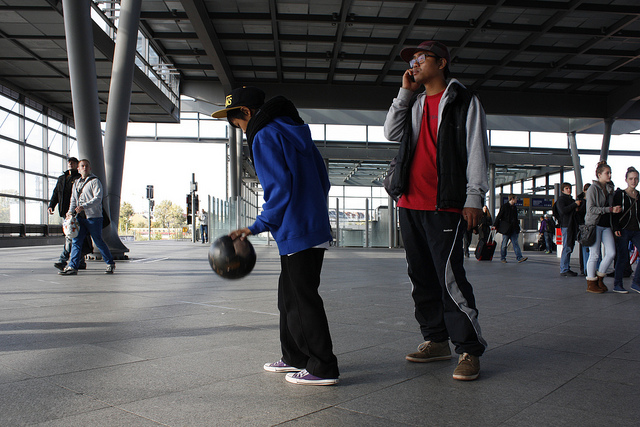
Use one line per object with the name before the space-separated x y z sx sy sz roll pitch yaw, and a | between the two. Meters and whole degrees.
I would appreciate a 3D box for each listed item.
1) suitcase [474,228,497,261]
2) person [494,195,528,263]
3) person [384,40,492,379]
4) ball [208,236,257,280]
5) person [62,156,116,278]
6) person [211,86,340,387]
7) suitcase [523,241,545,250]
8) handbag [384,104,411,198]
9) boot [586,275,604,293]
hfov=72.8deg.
suitcase | 5.910 1.111 15.429 0.634 1.212 0.582 -1 0 11
person | 6.733 0.544 15.385 0.864 2.478 1.470 -1 0 30
person | 1.080 -0.147 3.938 0.500 3.065 0.834 -1 0 -40
ball | -0.706 0.337 3.582 0.351 0.368 0.348 4 2 0
person | -4.943 0.085 9.228 0.911 2.013 0.634 -1 0 -31
person | -0.291 0.126 3.606 0.871 2.270 0.487 -1 0 -7
suitcase | 12.925 1.936 26.219 0.653 0.535 1.195 -1 0 -40
handbag | 0.742 -0.509 4.068 0.205 0.628 0.444 4 -33 -1
boot | 4.998 1.289 7.907 0.271 0.324 0.200 -1 0 31
